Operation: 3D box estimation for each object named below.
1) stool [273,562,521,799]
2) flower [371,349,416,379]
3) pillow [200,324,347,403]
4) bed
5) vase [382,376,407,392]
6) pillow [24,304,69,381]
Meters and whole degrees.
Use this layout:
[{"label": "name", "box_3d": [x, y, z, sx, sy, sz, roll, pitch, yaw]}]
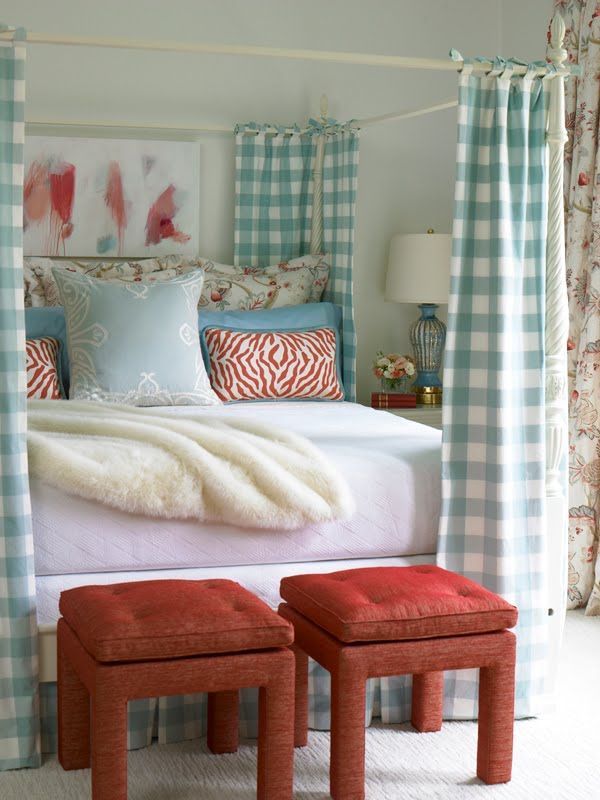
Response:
[{"label": "stool", "box_3d": [0.216, 0.585, 1.636, 0.465, 0.428, 0.312, 2, 3, -26]}, {"label": "flower", "box_3d": [0.454, -0.178, 3.721, 0.150, 0.109, 0.144, 1, 3, -2]}, {"label": "pillow", "box_3d": [-0.111, -0.155, 3.156, 0.613, 0.317, 0.169, -4, -2, -26]}, {"label": "bed", "box_3d": [-0.290, 0.150, 2.291, 1.272, 0.780, 1.238, -2, 7, -17]}, {"label": "vase", "box_3d": [0.469, -0.083, 3.752, 0.101, 0.086, 0.069, 1, 6, 0]}, {"label": "pillow", "box_3d": [-0.976, -0.233, 2.958, 0.291, 0.255, 0.080, 3, -16, -14]}]
